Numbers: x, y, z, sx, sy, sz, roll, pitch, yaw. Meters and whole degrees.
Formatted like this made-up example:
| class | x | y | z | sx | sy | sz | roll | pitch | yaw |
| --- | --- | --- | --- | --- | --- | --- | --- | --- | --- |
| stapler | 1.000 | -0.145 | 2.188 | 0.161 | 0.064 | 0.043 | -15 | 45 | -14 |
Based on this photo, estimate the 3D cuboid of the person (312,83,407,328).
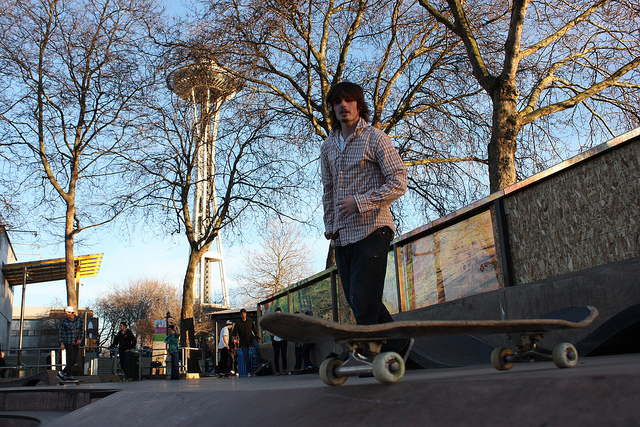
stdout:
| class | x | y | z | sx | sy | sz | roll | pitch | yaw |
| --- | --- | --- | --- | --- | --- | --- | --- | --- | --- |
| person | 0.513 | -0.155 | 7.004 | 0.853 | 2.725 | 0.913 | -9 | 7 | -26 |

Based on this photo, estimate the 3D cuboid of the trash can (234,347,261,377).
| class | x | y | z | sx | sy | sz | roll | pitch | yaw |
| --- | --- | --- | --- | --- | --- | --- | --- | --- | --- |
| trash can | -2.302 | 4.894 | 19.845 | 0.748 | 0.975 | 0.520 | 2 | -23 | -6 |

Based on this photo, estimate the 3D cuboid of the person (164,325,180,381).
| class | x | y | z | sx | sy | sz | roll | pitch | yaw |
| --- | --- | --- | --- | --- | --- | --- | --- | --- | --- |
| person | -4.879 | 4.733 | 20.220 | 0.396 | 1.868 | 0.983 | -7 | 6 | -16 |

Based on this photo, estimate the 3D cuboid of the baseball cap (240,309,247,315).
| class | x | y | z | sx | sy | sz | roll | pitch | yaw |
| --- | --- | --- | --- | --- | --- | --- | --- | --- | --- |
| baseball cap | -2.486 | 3.162 | 19.440 | 0.153 | 0.207 | 0.204 | 2 | 14 | 2 |

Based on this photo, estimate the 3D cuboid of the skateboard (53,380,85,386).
| class | x | y | z | sx | sy | sz | roll | pitch | yaw |
| --- | --- | --- | --- | --- | --- | --- | --- | --- | --- |
| skateboard | -4.976 | 3.340 | 11.858 | 0.756 | 0.134 | 0.206 | 3 | -14 | -11 |

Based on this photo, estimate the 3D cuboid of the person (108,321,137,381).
| class | x | y | z | sx | sy | sz | roll | pitch | yaw |
| --- | --- | --- | --- | --- | --- | --- | --- | --- | --- |
| person | -6.348 | 4.463 | 19.605 | 0.801 | 1.646 | 2.515 | -8 | 6 | -20 |

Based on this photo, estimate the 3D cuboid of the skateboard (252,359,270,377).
| class | x | y | z | sx | sy | sz | roll | pitch | yaw |
| --- | --- | --- | --- | --- | --- | --- | --- | --- | --- |
| skateboard | -1.863 | 4.986 | 19.326 | 0.133 | 0.208 | 0.762 | 13 | 39 | 43 |
